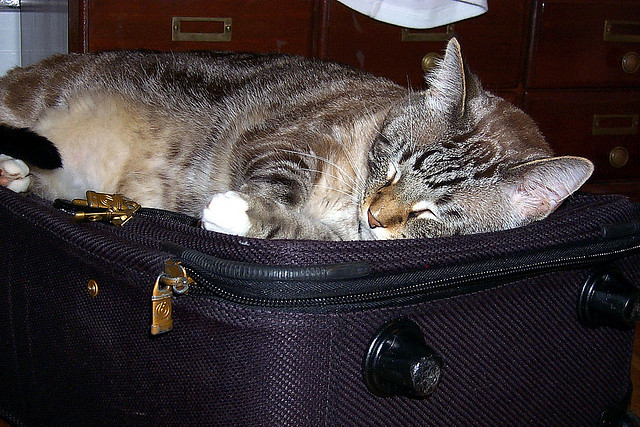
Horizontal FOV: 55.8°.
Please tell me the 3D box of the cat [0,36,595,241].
[{"bbox_3d":[-0.084,-0.146,1.169,0.704,0.291,0.268,15,71,11],"label":"cat"}]
